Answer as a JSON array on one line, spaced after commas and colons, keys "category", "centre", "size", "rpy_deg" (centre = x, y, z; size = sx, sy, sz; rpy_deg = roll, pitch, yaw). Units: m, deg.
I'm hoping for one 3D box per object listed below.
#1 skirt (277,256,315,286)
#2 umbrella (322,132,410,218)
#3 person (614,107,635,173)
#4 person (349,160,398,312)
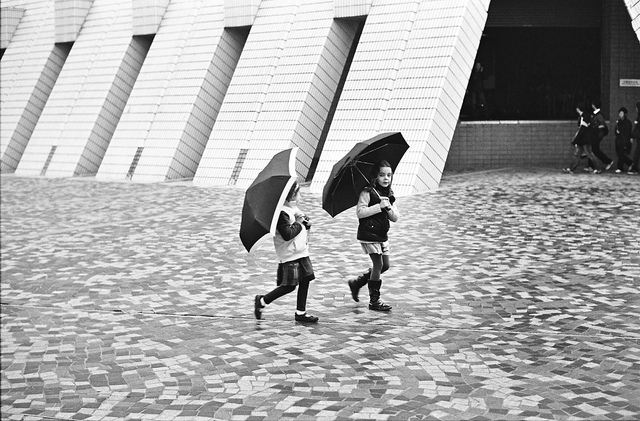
[{"category": "skirt", "centre": [-0.406, 0.763, 6.667], "size": [0.269, 0.312, 0.327], "rpy_deg": [-2, 2, -9]}, {"category": "umbrella", "centre": [0.585, -0.379, 7.270], "size": [0.418, 1.109, 1.099], "rpy_deg": [41, -24, -9]}, {"category": "person", "centre": [10.380, -2.428, 18.731], "size": [0.594, 2.150, 1.216], "rpy_deg": [3, 13, 27]}, {"category": "person", "centre": [0.683, 0.278, 7.318], "size": [0.624, 1.921, 1.094], "rpy_deg": [-2, 12, 2]}]
